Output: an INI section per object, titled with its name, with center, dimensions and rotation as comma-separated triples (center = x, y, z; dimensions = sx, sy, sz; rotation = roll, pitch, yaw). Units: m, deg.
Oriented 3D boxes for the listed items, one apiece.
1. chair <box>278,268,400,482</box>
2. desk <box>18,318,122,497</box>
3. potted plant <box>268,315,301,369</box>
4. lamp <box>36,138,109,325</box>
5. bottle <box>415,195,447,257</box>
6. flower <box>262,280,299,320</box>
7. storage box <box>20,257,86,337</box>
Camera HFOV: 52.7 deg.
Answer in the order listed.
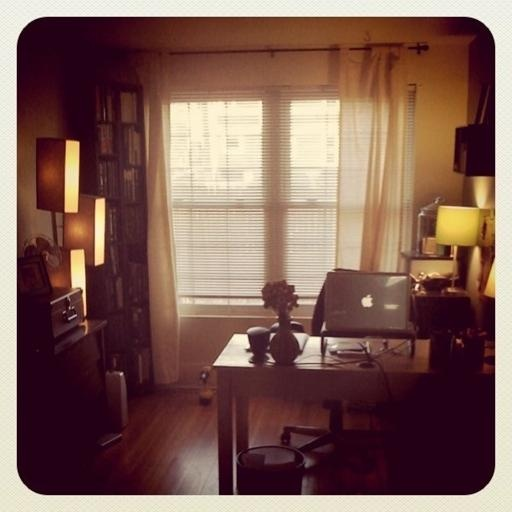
[chair]
center = 0.424, 0.495, 2.448
dimensions = 0.442, 0.897, 0.523
rotation = 9, -6, 10
[desk]
center = -0.873, 0.716, 2.387
dimensions = 0.303, 0.831, 0.809
rotation = 0, -1, 3
[potted plant]
center = 0.116, 0.372, 2.288
dimensions = 0.152, 0.284, 0.172
rotation = 0, 3, -1
[lamp]
center = -0.844, -0.245, 2.685
dimensions = 0.174, 0.730, 0.322
rotation = 8, 27, 13
[bottle]
center = 1.176, -0.175, 3.339
dimensions = 0.207, 0.387, 0.207
rotation = 2, 4, 0
[flower]
center = 0.105, 0.185, 2.166
dimensions = 0.139, 0.156, 0.118
rotation = 8, 13, 39
[storage box]
center = -0.943, 0.193, 2.350
dimensions = 0.202, 0.347, 0.321
rotation = -2, 7, 4
